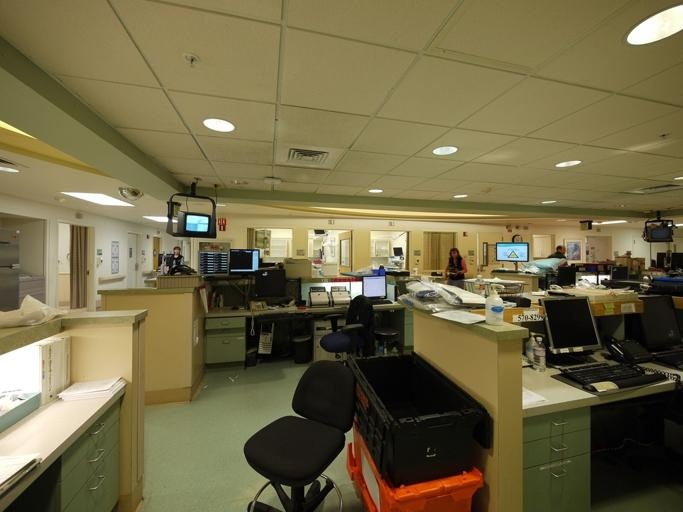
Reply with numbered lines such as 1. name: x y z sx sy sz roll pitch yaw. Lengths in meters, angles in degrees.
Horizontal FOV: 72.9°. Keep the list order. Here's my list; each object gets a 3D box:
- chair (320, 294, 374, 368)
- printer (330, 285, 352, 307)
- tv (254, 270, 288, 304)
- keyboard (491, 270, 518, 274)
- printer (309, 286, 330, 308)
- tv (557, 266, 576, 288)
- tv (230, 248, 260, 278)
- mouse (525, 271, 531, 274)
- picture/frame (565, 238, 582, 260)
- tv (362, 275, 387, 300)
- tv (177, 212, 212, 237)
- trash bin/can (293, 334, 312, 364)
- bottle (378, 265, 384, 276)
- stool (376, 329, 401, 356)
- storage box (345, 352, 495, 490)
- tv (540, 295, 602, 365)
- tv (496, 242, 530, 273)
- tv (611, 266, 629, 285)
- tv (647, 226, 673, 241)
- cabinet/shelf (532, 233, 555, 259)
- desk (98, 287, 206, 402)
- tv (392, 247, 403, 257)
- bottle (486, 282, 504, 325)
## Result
1. chair: 0.068 0.903 5.324 0.664 0.849 0.623 0 12 22
2. printer: -0.020 0.512 6.031 0.267 0.155 0.240 -2 11 -16
3. tv: -0.945 0.335 5.880 0.414 0.349 0.214 0 1 -26
4. keyboard: 2.383 0.215 6.706 0.206 0.058 0.510 0 -1 -21
5. printer: -0.287 0.513 5.880 0.233 0.204 0.239 1 -6 -9
6. tv: 2.970 0.272 6.122 0.275 0.230 0.058 -1 -4 -32
7. tv: -1.216 0.093 5.761 0.401 0.308 0.050 -1 3 -20
8. mouse: 2.509 0.211 6.211 0.058 0.023 0.034 1 6 9
9. picture/frame: 6.068 -0.221 12.141 0.646 0.661 0.047 0 0 -19
10. tv: 0.409 0.414 6.372 0.397 0.331 0.297 2 -2 -20
11. tv: -1.695 -0.373 5.365 0.485 0.308 0.240 1 3 -45
12. trash bin/can: -0.492 1.151 5.786 0.354 0.372 0.311 1 -5 -12
13. bottle: 0.550 0.198 6.417 0.114 0.192 0.109 0 -4 0
14. stool: 0.595 1.090 5.950 0.382 0.340 0.360 -1 -1 -8
15. storage box: 0.456 1.086 3.333 0.756 0.417 0.969 -3 13 -20
16. tv: 1.850 0.602 3.659 0.520 0.505 0.301 -1 4 -19
17. tv: 2.952 -0.009 7.951 0.223 0.507 0.648 6 -5 -37
18. tv: 4.056 0.270 6.741 0.179 0.155 0.089 4 -10 -2
19. tv: 5.814 -0.401 8.474 0.278 0.314 0.490 10 -5 -26
20. cabinet/shelf: 5.209 -0.289 11.900 0.224 0.587 0.660 2 -3 -4
21. desk: -2.185 0.695 5.155 1.131 1.391 1.521 -1 3 -9
22. tv: 1.278 -0.107 10.478 0.052 0.188 0.215 5 0 -41
23. bottle: 1.035 0.329 3.157 0.102 0.235 0.306 -1 -1 16
